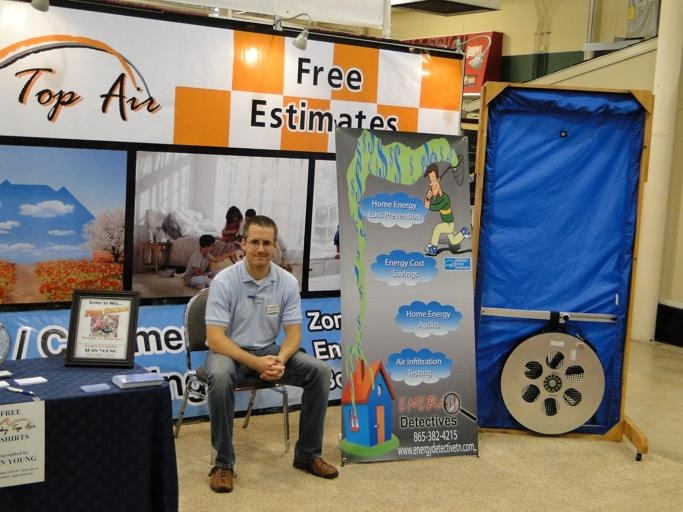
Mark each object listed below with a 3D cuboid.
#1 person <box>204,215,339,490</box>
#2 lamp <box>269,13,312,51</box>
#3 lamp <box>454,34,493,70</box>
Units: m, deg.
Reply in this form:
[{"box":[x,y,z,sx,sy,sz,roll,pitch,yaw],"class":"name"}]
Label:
[{"box":[-0.406,0.527,3.411,0.766,1.494,0.543,1,7,-15],"class":"person"},{"box":[-0.345,-1.600,4.068,0.269,0.284,0.322,2,8,-5],"class":"lamp"},{"box":[2.354,-3.775,10.493,0.708,0.616,0.442,9,10,38],"class":"lamp"}]
